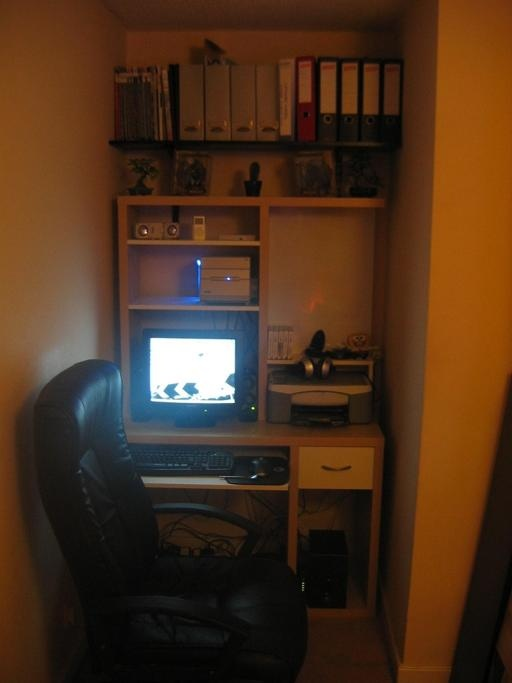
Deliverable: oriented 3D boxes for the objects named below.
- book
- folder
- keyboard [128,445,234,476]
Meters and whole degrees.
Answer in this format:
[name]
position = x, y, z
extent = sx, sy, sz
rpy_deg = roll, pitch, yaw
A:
[book]
position = -0.477, -1.006, 2.736
extent = 0.300, 0.313, 0.073
rpy_deg = 4, 11, 21
[folder]
position = 0.135, -0.991, 2.678
extent = 0.933, 0.351, 0.084
rpy_deg = 0, 11, 5
[keyboard]
position = -0.305, 0.437, 2.664
extent = 0.396, 0.098, 0.308
rpy_deg = 1, 8, -6
